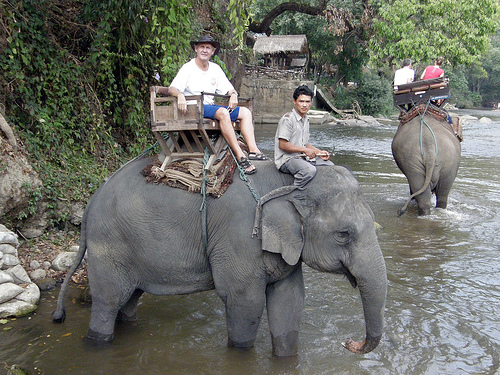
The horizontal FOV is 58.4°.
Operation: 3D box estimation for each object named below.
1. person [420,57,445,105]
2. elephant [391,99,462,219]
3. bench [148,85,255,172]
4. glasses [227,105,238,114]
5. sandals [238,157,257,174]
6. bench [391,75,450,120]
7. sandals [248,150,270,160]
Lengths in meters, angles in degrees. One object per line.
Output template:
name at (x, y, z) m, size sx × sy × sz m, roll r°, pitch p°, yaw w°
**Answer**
person at (3.450, -2.081, 8.616) m, size 0.299 × 0.886 × 0.437 m, roll 22°, pitch 54°, yaw 17°
elephant at (2.885, -0.527, 7.337) m, size 0.770 × 1.471 × 2.382 m, roll 1°, pitch 23°, yaw 11°
bench at (-0.492, -0.577, 4.504) m, size 0.532 × 0.846 × 1.039 m, roll 1°, pitch 5°, yaw 20°
glasses at (-0.173, -0.739, 4.230) m, size 0.069 × 0.034 × 0.106 m, roll -4°, pitch -15°, yaw -15°
sandals at (-0.026, -0.194, 3.966) m, size 0.078 × 0.092 × 0.207 m, roll -37°, pitch 43°, yaw 1°
bench at (3.006, -1.622, 7.609) m, size 0.930 × 0.628 × 0.683 m, roll -3°, pitch 25°, yaw 40°
sandals at (0.090, -0.308, 4.211) m, size 0.187 × 0.089 × 0.080 m, roll 4°, pitch 8°, yaw -3°
